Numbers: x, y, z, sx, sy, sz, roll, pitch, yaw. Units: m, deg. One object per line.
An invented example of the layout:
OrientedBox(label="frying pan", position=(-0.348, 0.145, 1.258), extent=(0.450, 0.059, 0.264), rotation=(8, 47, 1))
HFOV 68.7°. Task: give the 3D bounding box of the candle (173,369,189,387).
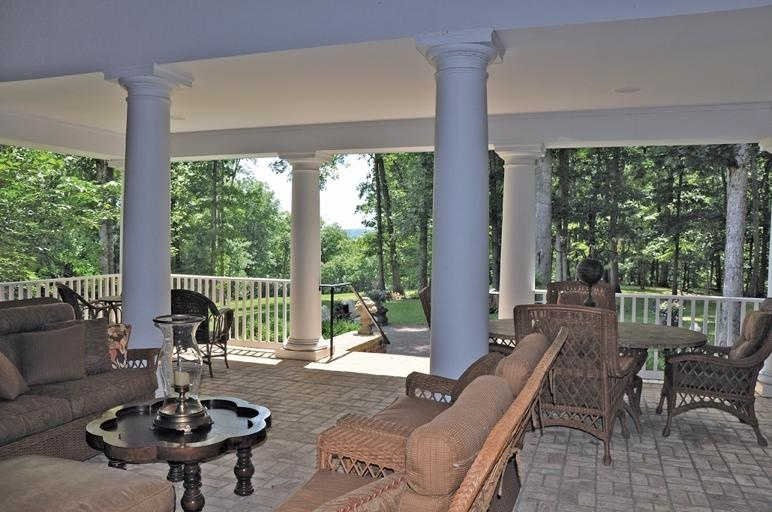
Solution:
OrientedBox(label="candle", position=(-1.650, 0.995, 4.594), extent=(0.123, 0.109, 0.119), rotation=(2, -4, -10))

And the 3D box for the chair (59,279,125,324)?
OrientedBox(label="chair", position=(-4.329, 0.659, 8.344), extent=(0.835, 1.020, 0.801), rotation=(-2, 3, -20))

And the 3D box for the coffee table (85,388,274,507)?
OrientedBox(label="coffee table", position=(-1.592, 1.523, 4.719), extent=(1.053, 0.420, 1.030), rotation=(1, 3, 9))
